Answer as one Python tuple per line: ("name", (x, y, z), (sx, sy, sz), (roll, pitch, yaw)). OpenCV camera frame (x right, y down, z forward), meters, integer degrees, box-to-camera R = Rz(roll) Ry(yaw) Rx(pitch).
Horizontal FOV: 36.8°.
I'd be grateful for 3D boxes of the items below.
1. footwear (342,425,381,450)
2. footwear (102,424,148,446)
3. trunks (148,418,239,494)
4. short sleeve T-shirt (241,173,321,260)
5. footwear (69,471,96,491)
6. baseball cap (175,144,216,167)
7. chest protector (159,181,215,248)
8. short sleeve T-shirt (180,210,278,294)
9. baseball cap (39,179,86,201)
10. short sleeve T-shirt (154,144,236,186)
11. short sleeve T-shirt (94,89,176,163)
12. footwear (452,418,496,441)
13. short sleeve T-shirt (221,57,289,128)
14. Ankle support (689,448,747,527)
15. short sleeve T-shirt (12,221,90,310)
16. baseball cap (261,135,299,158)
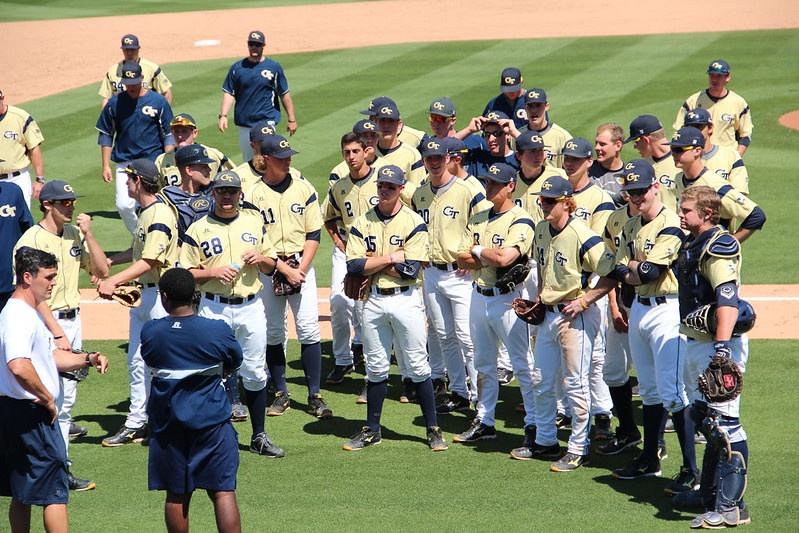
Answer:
("footwear", (-0.430, 2.167, 15.162), (0.586, 0.227, 0.195), (-13, 42, -21))
("footwear", (-3.450, 2.147, 15.280), (0.600, 0.201, 0.205), (-3, 13, -16))
("trunks", (-2.288, 2.093, 13.308), (1.123, 0.767, 0.518), (1, 3, 0))
("short sleeve T-shirt", (-1.644, -0.682, 16.079), (1.321, 0.957, 0.540), (-8, 16, -37))
("footwear", (-3.705, 2.594, 14.344), (0.460, 0.147, 0.145), (0, 8, -2))
("baseball cap", (-2.623, -1.429, 15.493), (0.439, 0.157, 0.266), (-3, 14, -10))
("chest protector", (-2.737, -0.652, 15.541), (0.704, 0.758, 0.370), (0, -22, -26))
("short sleeve T-shirt", (-2.024, -0.126, 15.135), (1.555, 0.973, 0.612), (-3, 8, 16))
("baseball cap", (-4.101, -0.913, 14.493), (0.405, 0.153, 0.242), (4, 12, -1))
("short sleeve T-shirt", (-2.972, -1.416, 17.062), (1.185, 0.463, 0.627), (-13, 9, -13))
("short sleeve T-shirt", (-3.962, -2.122, 18.698), (1.587, 1.068, 0.696), (3, 16, 21))
("footwear", (1.000, 2.087, 15.365), (0.629, 0.221, 0.224), (-3, 13, -10))
("short sleeve T-shirt", (-2.365, -2.878, 19.905), (1.044, 1.192, 0.541), (-1, -3, -7))
("Ankle support", (3.613, 2.472, 13.569), (0.612, 0.945, 0.207), (-2, -3, 9))
("short sleeve T-shirt", (-4.229, 0.055, 14.723), (0.500, 1.132, 1.204), (11, 16, 33))
("baseball cap", (-1.583, -1.560, 15.651), (0.409, 0.315, 0.239), (-1, -3, -8))
